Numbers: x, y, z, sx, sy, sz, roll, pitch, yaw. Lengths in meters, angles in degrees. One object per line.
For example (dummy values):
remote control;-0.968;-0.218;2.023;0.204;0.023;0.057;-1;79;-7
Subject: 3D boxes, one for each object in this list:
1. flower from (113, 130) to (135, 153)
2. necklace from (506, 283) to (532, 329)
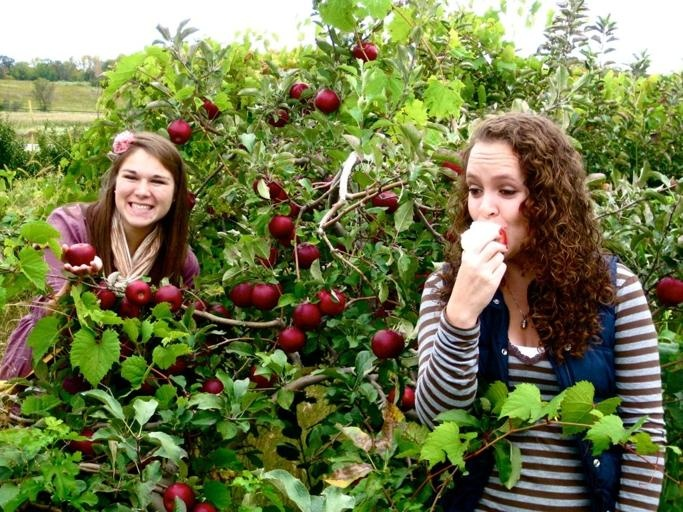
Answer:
flower;-1.093;-0.577;2.598;0.120;0.103;0.066;10;-1;12
necklace;0.570;0.170;1.655;0.050;0.126;0.035;-22;-3;0
